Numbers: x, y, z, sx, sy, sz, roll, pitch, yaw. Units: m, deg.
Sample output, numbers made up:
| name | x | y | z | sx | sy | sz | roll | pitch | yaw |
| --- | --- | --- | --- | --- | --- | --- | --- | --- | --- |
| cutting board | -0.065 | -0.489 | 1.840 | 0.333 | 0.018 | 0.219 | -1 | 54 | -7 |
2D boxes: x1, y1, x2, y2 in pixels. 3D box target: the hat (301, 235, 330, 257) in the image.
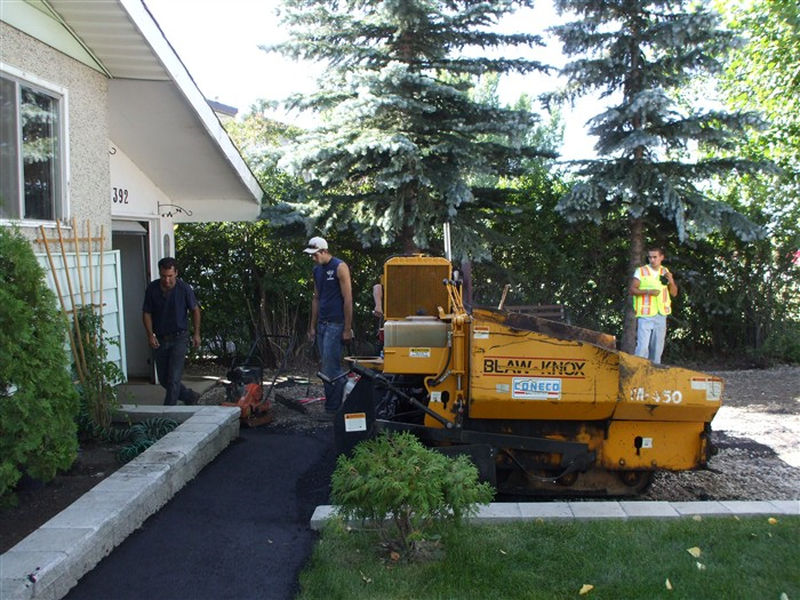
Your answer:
| name | x | y | z | sx | sy | sz | roll | pitch | yaw |
| --- | --- | --- | --- | --- | --- | --- | --- | --- | --- |
| hat | -1.099 | -0.723 | 9.722 | 0.394 | 0.247 | 0.275 | -5 | 13 | -40 |

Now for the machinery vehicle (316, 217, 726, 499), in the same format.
| name | x | y | z | sx | sy | sz | roll | pitch | yaw |
| --- | --- | --- | --- | --- | --- | --- | --- | --- | --- |
| machinery vehicle | 1.119 | 0.669 | 8.205 | 3.430 | 2.693 | 2.425 | -1 | 4 | -3 |
